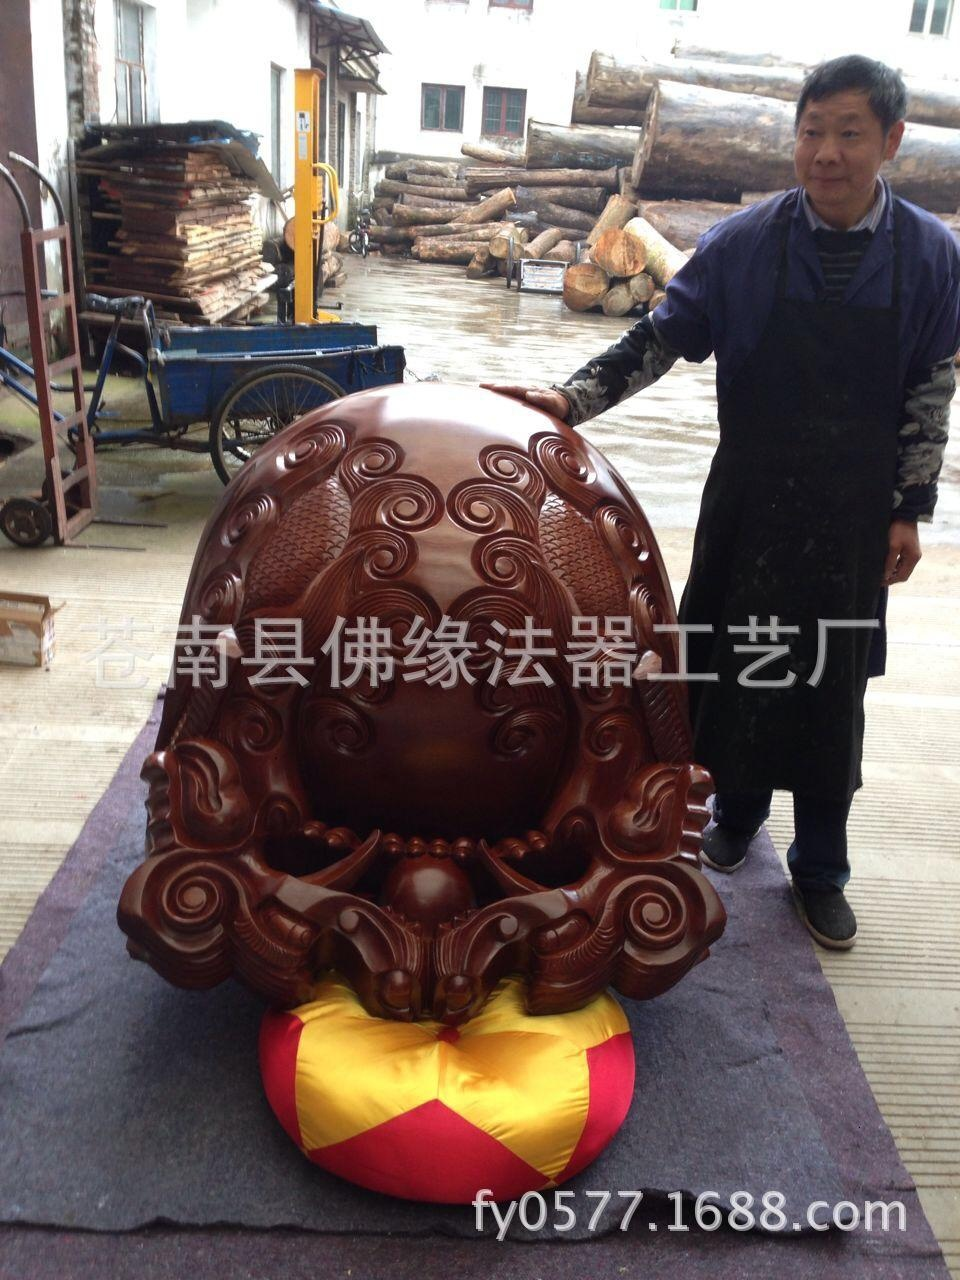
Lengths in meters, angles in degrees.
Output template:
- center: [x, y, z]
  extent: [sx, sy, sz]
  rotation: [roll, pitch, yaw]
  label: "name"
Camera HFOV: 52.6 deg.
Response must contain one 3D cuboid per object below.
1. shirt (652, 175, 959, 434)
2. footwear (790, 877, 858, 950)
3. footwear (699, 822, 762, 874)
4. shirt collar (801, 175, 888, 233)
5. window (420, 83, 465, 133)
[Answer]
- center: [0.549, -0.588, 1.662]
  extent: [0.508, 0.331, 0.215]
  rotation: [11, 25, 16]
  label: "shirt"
- center: [0.678, 0.537, 1.916]
  extent: [0.068, 0.059, 0.154]
  rotation: [-4, 8, 1]
  label: "footwear"
- center: [0.509, 0.444, 2.023]
  extent: [0.117, 0.096, 0.252]
  rotation: [7, 1, 10]
  label: "footwear"
- center: [0.575, -0.698, 1.557]
  extent: [0.129, 0.078, 0.076]
  rotation: [9, 24, 11]
  label: "shirt collar"
- center: [-0.760, -11.070, 20.024]
  extent: [0.897, 0.851, 0.138]
  rotation: [10, 43, 12]
  label: "window"
